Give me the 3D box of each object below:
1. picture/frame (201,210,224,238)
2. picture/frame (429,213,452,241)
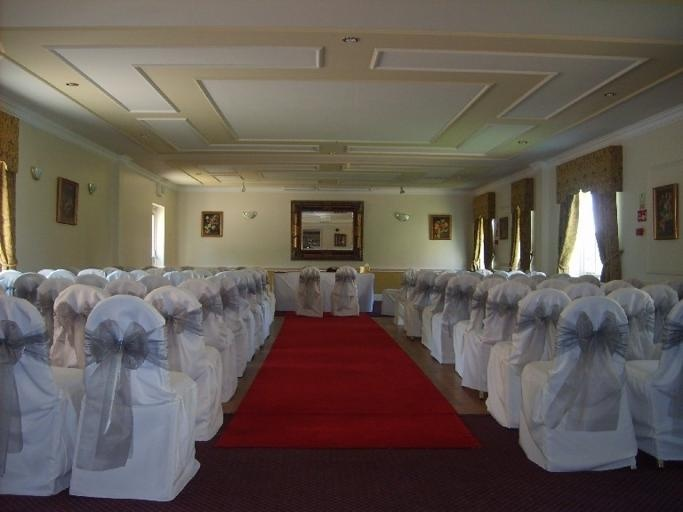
[{"bbox_3d":[-3.708,-0.889,13.700,0.656,0.893,0.093,1,-5,-8],"label":"picture/frame"},{"bbox_3d":[2.812,-0.794,13.912,0.623,0.795,0.052,2,4,1],"label":"picture/frame"}]
